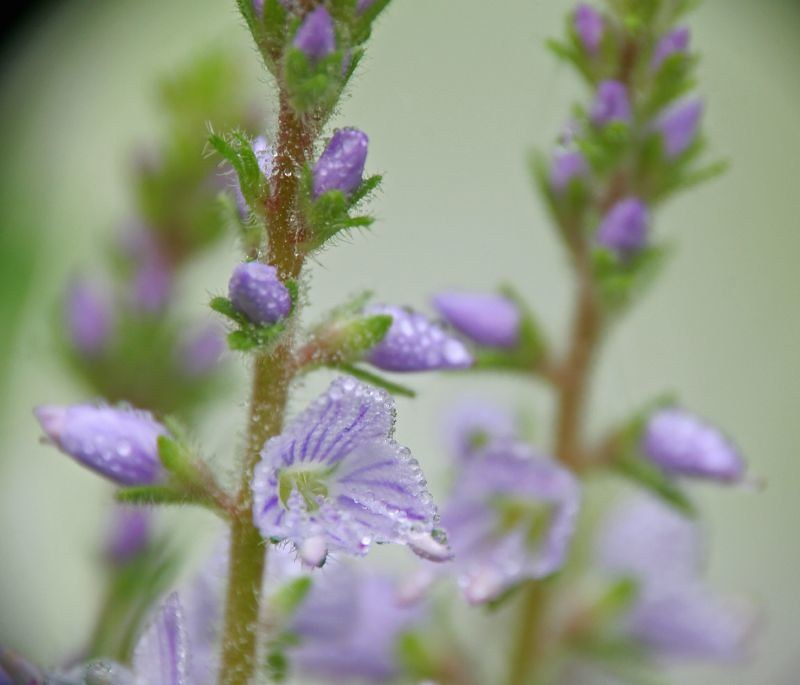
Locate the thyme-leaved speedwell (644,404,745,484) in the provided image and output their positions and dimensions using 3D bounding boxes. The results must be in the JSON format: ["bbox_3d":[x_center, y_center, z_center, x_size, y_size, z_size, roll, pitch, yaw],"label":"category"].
[{"bbox_3d":[0.265,0.086,1.007,0.045,0.040,0.082,-36,40,-16],"label":"thyme-leaved speedwell"}]

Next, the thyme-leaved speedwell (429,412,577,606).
[{"bbox_3d":[0.102,0.164,1.038,0.118,0.100,0.185,-6,51,-6],"label":"thyme-leaved speedwell"}]

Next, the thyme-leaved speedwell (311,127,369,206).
[{"bbox_3d":[-0.044,-0.131,0.802,0.032,0.041,0.050,29,56,22],"label":"thyme-leaved speedwell"}]

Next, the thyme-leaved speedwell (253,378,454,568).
[{"bbox_3d":[-0.042,0.116,0.794,0.124,0.149,0.071,3,20,-33],"label":"thyme-leaved speedwell"}]
